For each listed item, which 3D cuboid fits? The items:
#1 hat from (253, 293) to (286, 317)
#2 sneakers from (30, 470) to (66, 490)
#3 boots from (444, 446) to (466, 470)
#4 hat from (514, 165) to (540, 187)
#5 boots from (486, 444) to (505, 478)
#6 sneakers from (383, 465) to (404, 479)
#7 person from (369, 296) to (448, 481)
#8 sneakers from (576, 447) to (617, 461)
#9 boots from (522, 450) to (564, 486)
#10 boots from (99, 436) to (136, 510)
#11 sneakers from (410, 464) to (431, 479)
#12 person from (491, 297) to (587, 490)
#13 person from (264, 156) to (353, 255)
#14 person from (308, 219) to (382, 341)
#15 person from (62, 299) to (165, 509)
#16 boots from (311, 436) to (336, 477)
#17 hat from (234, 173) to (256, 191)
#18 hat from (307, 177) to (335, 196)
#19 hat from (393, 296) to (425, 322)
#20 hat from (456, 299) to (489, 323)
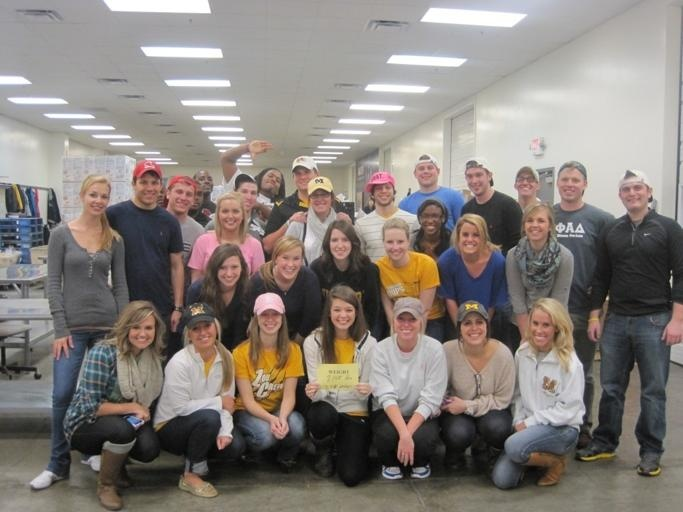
[{"bbox_3d":[-0.566,0.375,4.399,0.217,0.166,0.179,-2,12,-13],"label":"hat"},{"bbox_3d":[-2.144,1.625,4.155,0.086,0.090,0.238,6,-5,37],"label":"sneakers"},{"bbox_3d":[0.859,1.556,4.444,0.126,0.194,0.200,-4,-19,3],"label":"boots"},{"bbox_3d":[2.010,-0.874,6.149,0.305,0.221,0.294,2,1,-2],"label":"hat"},{"bbox_3d":[1.158,1.557,4.355,0.100,0.240,0.239,5,-9,15],"label":"boots"},{"bbox_3d":[0.385,1.626,4.303,0.167,0.067,0.075,1,-1,2],"label":"sneakers"},{"bbox_3d":[0.510,1.007,4.309,0.603,1.333,0.518,1,12,5],"label":"person"},{"bbox_3d":[2.009,1.573,4.526,0.315,0.123,0.112,2,-2,-4],"label":"sneakers"},{"bbox_3d":[1.528,1.545,4.229,0.213,0.272,0.299,7,14,32],"label":"boots"},{"bbox_3d":[-1.601,1.515,3.964,0.235,0.408,0.226,-1,12,-3],"label":"boots"},{"bbox_3d":[0.607,1.615,4.321,0.175,0.096,0.109,-1,11,-6],"label":"sneakers"},{"bbox_3d":[1.520,1.011,4.268,0.572,1.306,0.506,2,12,8],"label":"person"},{"bbox_3d":[-0.268,-0.513,5.558,0.349,0.942,0.587,1,-38,-13],"label":"person"},{"bbox_3d":[-0.005,0.413,4.875,0.625,1.356,0.433,4,6,16],"label":"person"},{"bbox_3d":[-1.595,1.011,4.155,0.514,1.311,0.668,9,15,37],"label":"person"},{"bbox_3d":[-0.141,1.503,4.436,0.201,0.326,0.484,-1,2,0],"label":"boots"},{"bbox_3d":[-1.050,-0.815,6.150,0.177,0.227,0.204,1,23,-15],"label":"hat"},{"bbox_3d":[-0.189,-0.650,5.247,0.165,0.109,0.219,-5,-8,5],"label":"hat"},{"bbox_3d":[0.505,0.397,4.362,0.216,0.155,0.157,0,11,0],"label":"hat"},{"bbox_3d":[1.015,0.413,4.421,0.164,0.208,0.215,-3,-1,4],"label":"hat"}]
